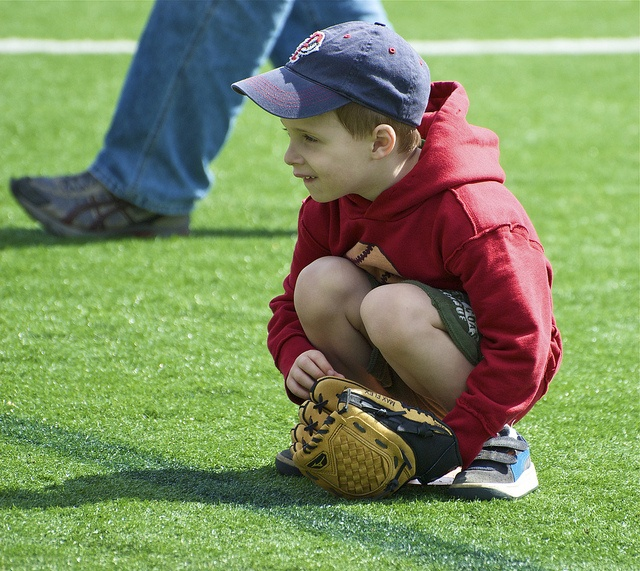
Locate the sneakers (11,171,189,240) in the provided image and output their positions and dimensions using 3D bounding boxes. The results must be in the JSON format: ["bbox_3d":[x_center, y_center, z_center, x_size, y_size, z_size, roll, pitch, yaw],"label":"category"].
[{"bbox_3d":[-0.740,-0.266,3.103,0.537,0.227,0.184,9,7,-19],"label":"sneakers"}]

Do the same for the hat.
[{"bbox_3d":[0.020,-0.430,1.941,0.361,0.170,0.215,10,7,-6],"label":"hat"}]

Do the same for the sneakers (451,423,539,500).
[{"bbox_3d":[0.348,0.362,1.832,0.090,0.089,0.209,-4,-4,28],"label":"sneakers"}]

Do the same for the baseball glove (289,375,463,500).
[{"bbox_3d":[0.108,0.323,1.957,0.441,0.191,0.296,6,11,-17],"label":"baseball glove"}]

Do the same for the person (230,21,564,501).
[{"bbox_3d":[0.175,-0.042,2.085,0.680,0.990,0.737,6,11,39],"label":"person"}]
